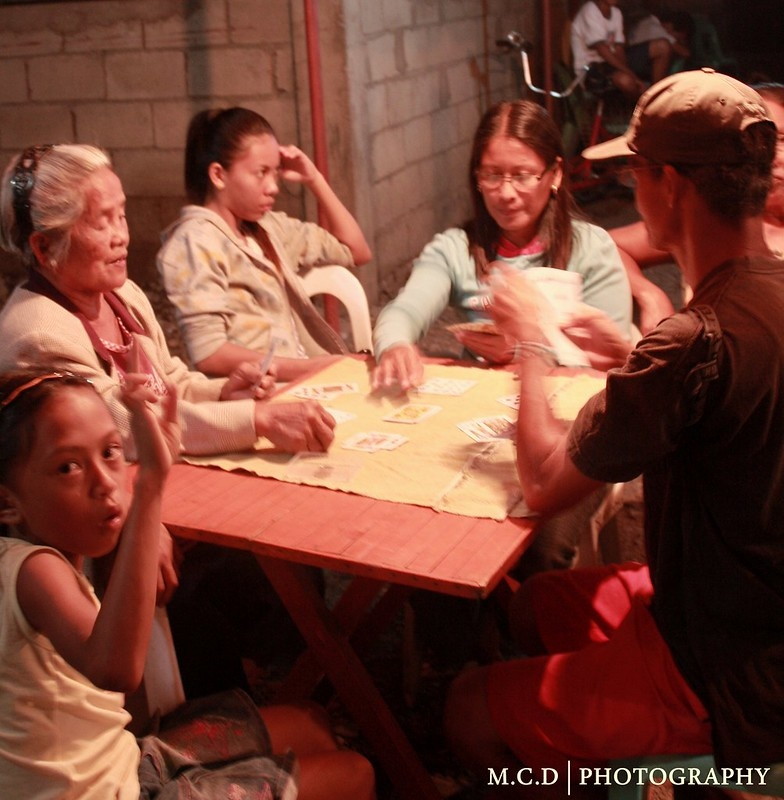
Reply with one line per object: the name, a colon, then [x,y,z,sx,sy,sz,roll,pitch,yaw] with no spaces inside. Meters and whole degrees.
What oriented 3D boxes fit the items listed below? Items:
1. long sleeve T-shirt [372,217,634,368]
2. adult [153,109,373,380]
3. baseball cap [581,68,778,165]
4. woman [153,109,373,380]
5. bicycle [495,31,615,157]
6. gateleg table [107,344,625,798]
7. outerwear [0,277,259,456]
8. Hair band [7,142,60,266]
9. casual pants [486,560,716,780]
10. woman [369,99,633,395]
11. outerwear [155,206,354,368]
long sleeve T-shirt: [0.337,-0.434,2.952,0.754,0.354,0.798,7,38,24]
adult: [-0.521,-0.657,3.331,1.010,1.384,1.038,-11,18,-39]
baseball cap: [0.565,-0.567,1.395,0.365,0.166,0.256,4,24,15]
woman: [-0.547,-0.656,3.336,1.011,1.374,0.951,-8,16,-30]
bicycle: [2.011,-3.743,8.651,1.185,1.465,1.092,3,31,6]
gateleg table: [-0.123,0.322,1.844,0.718,0.709,1.385,10,25,16]
outerwear: [-0.732,-0.109,1.987,0.583,0.626,0.399,1,36,2]
Hair band: [-1.023,-0.578,1.981,0.087,0.242,0.175,2,2,-26]
casual pants: [0.423,0.573,1.455,0.369,0.149,0.397,-1,29,13]
woman: [0.504,-0.522,3.044,0.986,1.437,1.068,1,29,14]
outerwear: [-0.653,-0.512,3.472,0.887,0.990,0.475,-20,7,-39]
